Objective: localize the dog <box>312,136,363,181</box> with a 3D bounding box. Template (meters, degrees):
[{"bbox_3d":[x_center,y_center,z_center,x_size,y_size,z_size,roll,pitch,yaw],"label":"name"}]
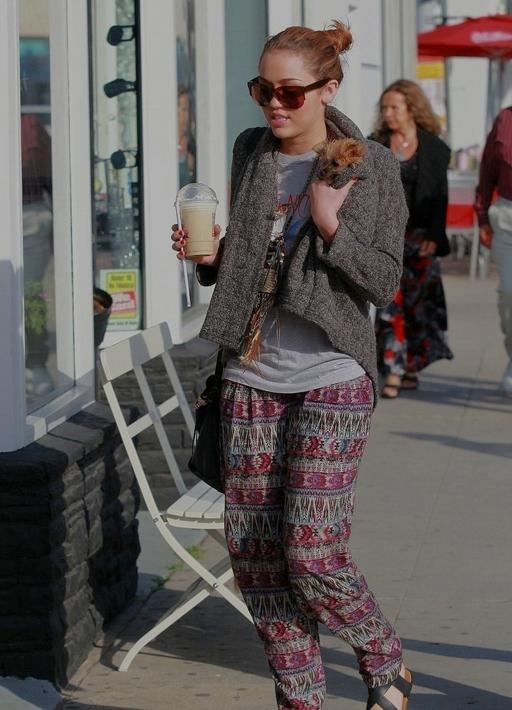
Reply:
[{"bbox_3d":[0.190,-0.461,2.326,0.123,0.102,0.107,2,10,23],"label":"dog"}]

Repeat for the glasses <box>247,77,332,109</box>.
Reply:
[{"bbox_3d":[0.069,-0.637,2.382,0.212,0.091,0.140,1,9,15],"label":"glasses"}]
